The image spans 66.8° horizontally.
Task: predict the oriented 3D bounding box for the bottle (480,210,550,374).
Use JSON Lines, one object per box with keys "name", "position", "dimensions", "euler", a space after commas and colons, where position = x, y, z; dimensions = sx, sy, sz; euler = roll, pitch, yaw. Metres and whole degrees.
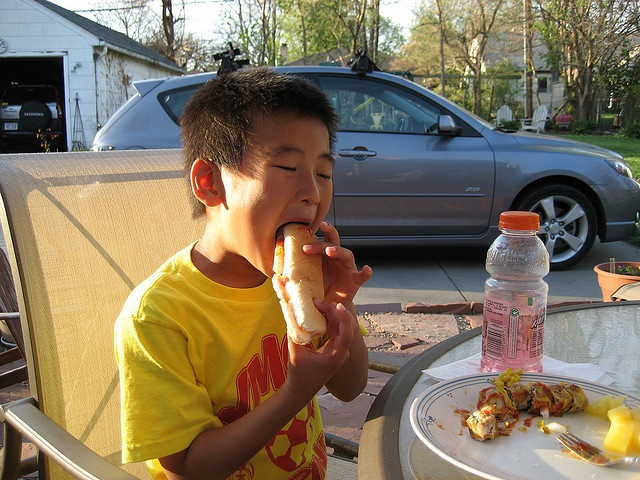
{"name": "bottle", "position": [0.597, 0.119, 1.498], "dimensions": [0.202, 0.443, 0.584], "euler": [4, 15, 23]}
